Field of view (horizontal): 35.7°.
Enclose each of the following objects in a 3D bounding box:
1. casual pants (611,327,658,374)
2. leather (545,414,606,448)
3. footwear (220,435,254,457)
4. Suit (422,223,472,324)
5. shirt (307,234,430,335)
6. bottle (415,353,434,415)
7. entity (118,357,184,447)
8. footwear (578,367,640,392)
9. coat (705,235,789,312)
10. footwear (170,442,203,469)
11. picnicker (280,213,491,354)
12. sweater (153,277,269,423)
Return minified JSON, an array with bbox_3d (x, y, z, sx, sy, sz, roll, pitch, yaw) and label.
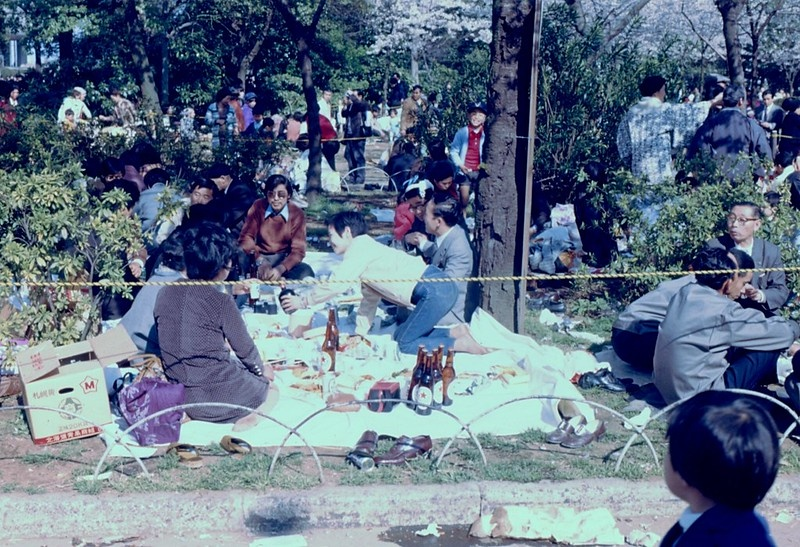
[{"bbox_3d":[2.807,0.924,14.910,0.592,0.457,0.554,-8,-30,23],"label":"casual pants"},{"bbox_3d":[1.909,1.727,13.545,0.635,0.314,0.263,1,7,6],"label":"leather"},{"bbox_3d":[-1.740,1.807,13.239,0.238,0.101,0.199,17,19,16],"label":"footwear"},{"bbox_3d":[0.586,0.042,15.205,0.710,1.419,0.991,2,10,12],"label":"Suit"},{"bbox_3d":[-0.262,0.127,15.250,1.662,1.351,0.859,-3,-14,8],"label":"shirt"},{"bbox_3d":[0.263,1.225,13.748,0.216,0.686,0.142,0,7,0],"label":"bottle"},{"bbox_3d":[-2.683,1.392,13.428,0.672,0.903,0.541,1,7,3],"label":"entity"},{"bbox_3d":[2.414,1.229,14.507,0.722,0.306,0.275,0,0,-4],"label":"footwear"},{"bbox_3d":[4.383,0.022,14.959,0.835,0.911,0.370,9,-5,4],"label":"coat"},{"bbox_3d":[-2.241,1.933,13.134,0.278,0.213,0.093,13,-23,-30],"label":"footwear"},{"bbox_3d":[0.064,0.277,15.339,2.289,1.485,0.766,5,12,39],"label":"picnicker"},{"bbox_3d":[-2.079,0.590,13.944,1.086,1.902,1.310,-5,16,5],"label":"sweater"}]
